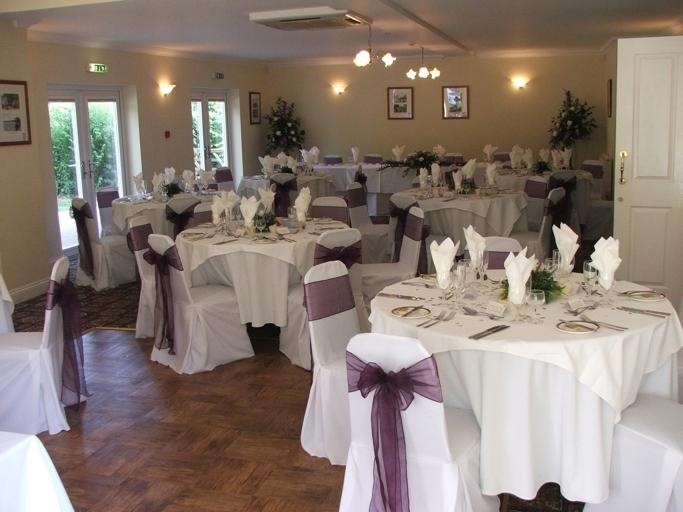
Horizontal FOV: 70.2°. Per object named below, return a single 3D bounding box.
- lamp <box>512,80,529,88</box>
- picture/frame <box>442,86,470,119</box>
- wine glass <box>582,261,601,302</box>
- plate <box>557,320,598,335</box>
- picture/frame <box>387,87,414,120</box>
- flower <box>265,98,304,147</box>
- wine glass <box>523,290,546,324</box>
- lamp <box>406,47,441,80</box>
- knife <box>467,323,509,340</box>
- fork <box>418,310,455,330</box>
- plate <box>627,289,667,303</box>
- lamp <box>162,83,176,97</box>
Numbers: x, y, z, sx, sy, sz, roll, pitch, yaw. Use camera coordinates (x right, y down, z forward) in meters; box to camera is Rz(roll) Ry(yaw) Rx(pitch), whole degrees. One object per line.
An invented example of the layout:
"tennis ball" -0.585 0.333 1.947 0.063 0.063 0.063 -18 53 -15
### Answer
"lamp" 4.571 -4.398 12.447 0.354 0.241 0.055 1 12 14
"picture/frame" 3.030 -4.086 12.944 0.728 1.008 0.063 1 -12 6
"wine glass" 1.534 0.118 2.977 0.088 0.239 0.402 5 15 29
"plate" 1.222 0.360 2.518 0.216 0.014 0.185 -15 18 -43
"picture/frame" 1.619 -4.189 13.233 0.728 1.023 0.062 1 8 4
"flower" -1.584 -3.678 13.554 1.066 1.497 0.815 -2 12 -1
"wine glass" 1.062 0.248 2.621 0.068 0.127 0.079 3 15 43
"lamp" 2.071 -4.863 12.219 0.866 1.094 0.995 -2 18 -6
"knife" 0.763 0.388 2.518 0.343 0.018 0.081 -12 18 -42
"fork" 0.555 0.333 2.716 0.334 0.054 0.081 -11 30 -42
"plate" 1.832 0.229 2.941 0.198 0.017 0.229 1 13 14
"lamp" -3.607 -3.496 10.246 0.143 0.240 0.452 0 13 11
